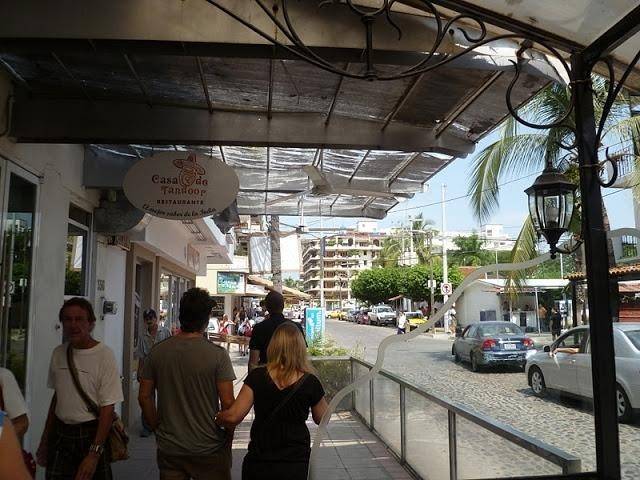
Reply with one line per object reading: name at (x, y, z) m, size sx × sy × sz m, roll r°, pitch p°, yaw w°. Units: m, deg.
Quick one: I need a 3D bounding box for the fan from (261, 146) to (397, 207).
fan at (0.034, -1.015, 9.421) m, size 2.264 × 0.552 × 1.982 m, roll 4°, pitch -9°, yaw -39°

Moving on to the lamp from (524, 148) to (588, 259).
lamp at (2.107, -0.355, 4.535) m, size 0.393 × 0.924 × 0.429 m, roll 1°, pitch 3°, yaw -19°

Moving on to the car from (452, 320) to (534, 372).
car at (6.324, 3.927, 18.540) m, size 1.217 × 1.866 × 3.507 m, roll 1°, pitch -8°, yaw -19°

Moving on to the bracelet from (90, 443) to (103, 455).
bracelet at (-1.871, 1.714, 4.168) m, size 0.105 × 0.068 × 0.104 m, roll 6°, pitch -22°, yaw 23°
